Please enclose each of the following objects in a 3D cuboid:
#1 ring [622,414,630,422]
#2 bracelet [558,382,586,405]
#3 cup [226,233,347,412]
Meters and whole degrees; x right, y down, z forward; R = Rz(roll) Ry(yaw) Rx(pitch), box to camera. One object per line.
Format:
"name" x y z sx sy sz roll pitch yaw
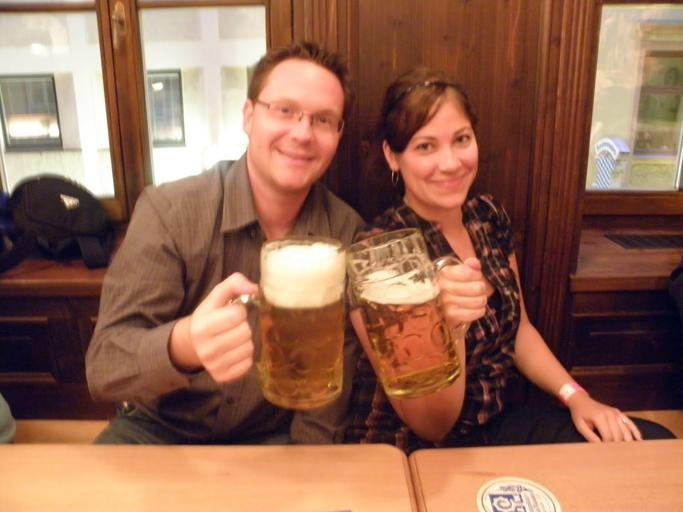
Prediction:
"ring" 0.968 0.553 1.828 0.024 0.023 0.021 -6 12 8
"bracelet" 0.865 0.521 2.017 0.084 0.060 0.117 -2 21 2
"cup" -0.104 0.164 1.337 0.237 0.381 0.203 -3 21 0
